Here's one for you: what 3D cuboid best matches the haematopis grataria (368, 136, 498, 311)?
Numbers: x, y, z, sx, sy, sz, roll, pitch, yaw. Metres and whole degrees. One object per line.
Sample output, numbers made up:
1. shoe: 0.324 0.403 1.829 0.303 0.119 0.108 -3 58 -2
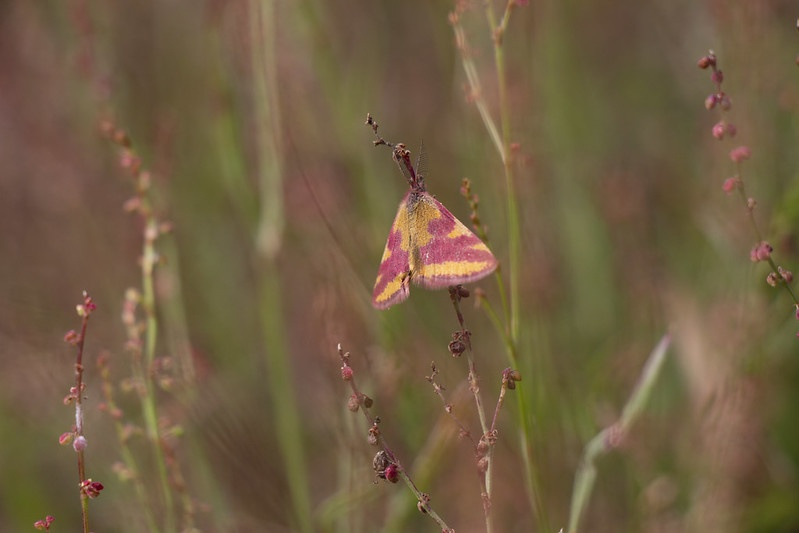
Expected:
1. haematopis grataria: 0.040 -0.027 1.418 0.173 0.210 0.078 -17 -20 25
